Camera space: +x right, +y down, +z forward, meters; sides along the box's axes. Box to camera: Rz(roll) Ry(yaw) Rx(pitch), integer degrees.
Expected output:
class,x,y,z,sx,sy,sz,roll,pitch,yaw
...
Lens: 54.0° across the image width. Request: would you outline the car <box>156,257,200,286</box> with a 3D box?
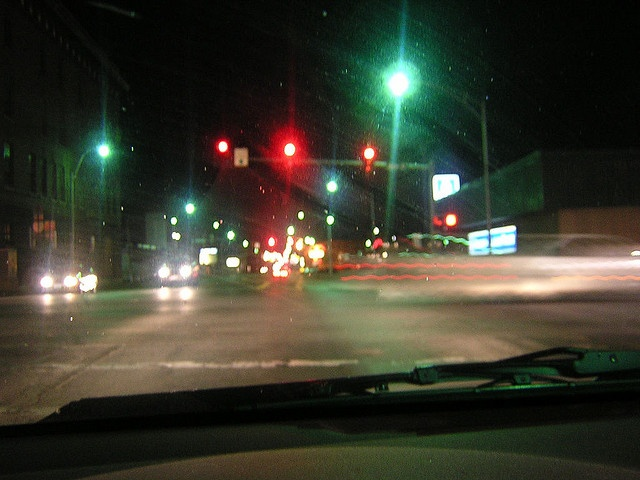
class,x,y,z,sx,sy,sz,roll,pitch,yaw
car,-9.909,2.267,43.544,2.242,1.474,4.285,1,3,-13
